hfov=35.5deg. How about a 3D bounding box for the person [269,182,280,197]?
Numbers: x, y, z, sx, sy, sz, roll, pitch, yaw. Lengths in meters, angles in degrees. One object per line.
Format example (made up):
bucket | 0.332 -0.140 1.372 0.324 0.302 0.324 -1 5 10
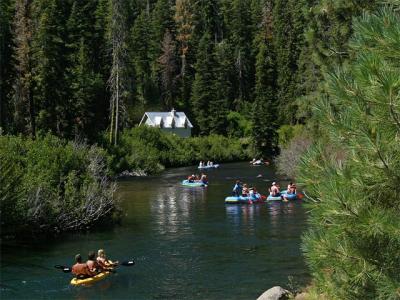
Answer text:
person | 4.564 2.404 38.198 0.528 0.683 1.093 0 6 13

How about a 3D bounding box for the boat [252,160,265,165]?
boat | 6.579 1.448 70.212 1.379 0.549 2.211 -6 0 5

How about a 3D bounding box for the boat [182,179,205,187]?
boat | -0.512 2.529 46.603 1.093 0.513 2.217 -6 -1 -37

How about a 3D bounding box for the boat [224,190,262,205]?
boat | 2.638 2.946 37.208 2.584 0.642 0.881 -6 0 -41

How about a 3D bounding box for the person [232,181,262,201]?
person | 2.629 2.599 37.347 1.072 0.724 1.597 0 2 21

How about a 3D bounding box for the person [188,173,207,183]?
person | -0.340 2.198 47.799 0.699 0.591 1.143 1 -6 -43

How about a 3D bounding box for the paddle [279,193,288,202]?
paddle | 5.138 2.869 38.202 0.501 0.494 0.821 -5 0 7
